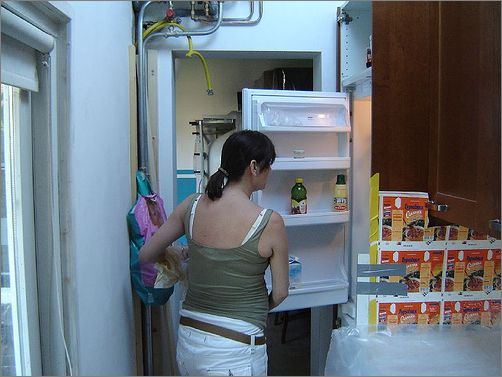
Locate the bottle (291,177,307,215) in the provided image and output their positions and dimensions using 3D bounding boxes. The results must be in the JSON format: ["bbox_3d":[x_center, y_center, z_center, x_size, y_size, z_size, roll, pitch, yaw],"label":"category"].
[{"bbox_3d":[0.264,0.047,2.309,0.090,0.195,0.132,-2,0,8],"label":"bottle"}]

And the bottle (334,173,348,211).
[{"bbox_3d":[0.506,0.029,2.341,0.082,0.212,0.071,-2,0,2],"label":"bottle"}]
